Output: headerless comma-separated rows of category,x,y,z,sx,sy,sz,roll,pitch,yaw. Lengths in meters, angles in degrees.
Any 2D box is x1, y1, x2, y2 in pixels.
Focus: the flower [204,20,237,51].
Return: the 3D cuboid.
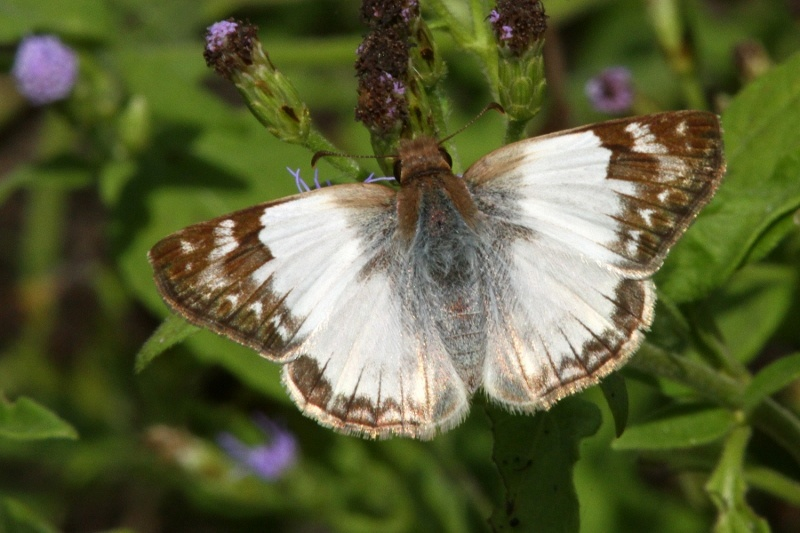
flower,-0.780,-1.008,3.829,0.159,0.051,0.117,-17,65,-2
